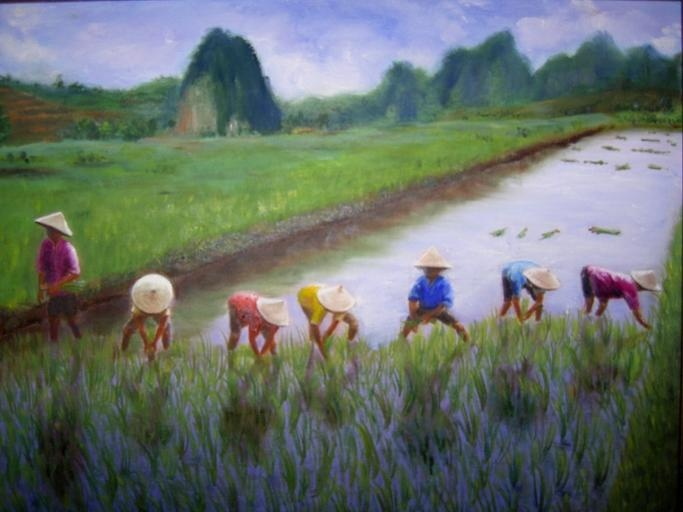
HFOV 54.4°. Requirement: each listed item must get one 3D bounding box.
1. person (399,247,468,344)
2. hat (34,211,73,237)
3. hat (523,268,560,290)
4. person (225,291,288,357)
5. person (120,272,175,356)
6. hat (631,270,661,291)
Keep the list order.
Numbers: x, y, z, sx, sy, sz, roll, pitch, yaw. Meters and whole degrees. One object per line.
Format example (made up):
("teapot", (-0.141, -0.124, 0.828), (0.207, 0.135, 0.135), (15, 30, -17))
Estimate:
("person", (0.995, 0.567, 7.289), (0.820, 1.397, 0.459), (3, 26, 11))
("hat", (-3.073, -0.370, 7.116), (0.293, 0.169, 0.261), (16, 1, -21))
("hat", (2.192, 0.242, 7.217), (0.251, 0.305, 0.110), (12, -25, -6))
("person", (-0.930, 0.778, 7.245), (0.688, 0.799, 0.450), (12, 12, 22))
("person", (-2.138, 0.705, 7.450), (0.474, 1.187, 0.562), (5, 49, -18))
("hat", (3.325, 0.260, 7.265), (0.213, 0.264, 0.101), (7, -30, -6))
